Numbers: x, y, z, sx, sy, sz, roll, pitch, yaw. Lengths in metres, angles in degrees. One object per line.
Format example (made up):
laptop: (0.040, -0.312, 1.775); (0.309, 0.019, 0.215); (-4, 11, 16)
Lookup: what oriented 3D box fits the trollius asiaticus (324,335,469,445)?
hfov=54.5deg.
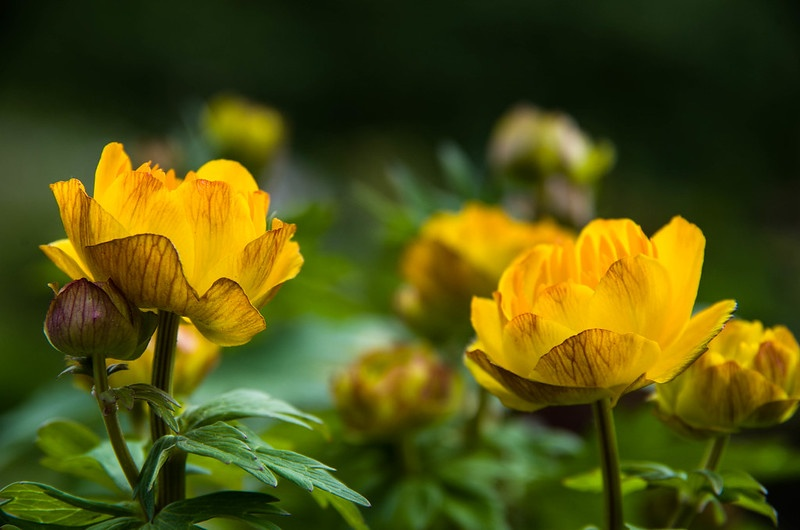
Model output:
trollius asiaticus: (0.008, 0.132, 0.753); (0.131, 0.071, 0.130); (-7, 4, -44)

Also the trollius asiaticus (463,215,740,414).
trollius asiaticus: (0.140, 0.034, 0.568); (0.151, 0.100, 0.140); (-26, 12, -24)

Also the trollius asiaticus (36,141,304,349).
trollius asiaticus: (-0.150, -0.015, 0.550); (0.151, 0.078, 0.139); (21, 18, -2)
